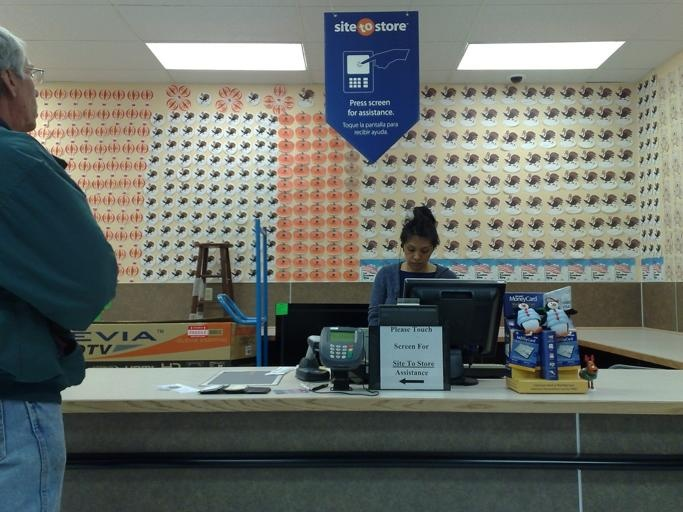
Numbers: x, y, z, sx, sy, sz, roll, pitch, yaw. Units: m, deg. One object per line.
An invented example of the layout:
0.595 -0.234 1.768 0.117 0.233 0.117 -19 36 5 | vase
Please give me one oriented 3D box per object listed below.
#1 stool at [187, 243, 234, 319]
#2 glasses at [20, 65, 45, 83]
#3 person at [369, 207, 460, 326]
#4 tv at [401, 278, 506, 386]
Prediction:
-1.148 0.210 6.192 0.375 0.676 0.353 0 -1 -10 | stool
-1.335 -0.788 3.008 0.085 0.022 0.078 6 6 0 | glasses
0.441 0.066 4.685 0.764 0.989 0.719 0 0 10 | person
0.570 0.391 3.666 0.614 0.557 0.304 1 0 3 | tv
